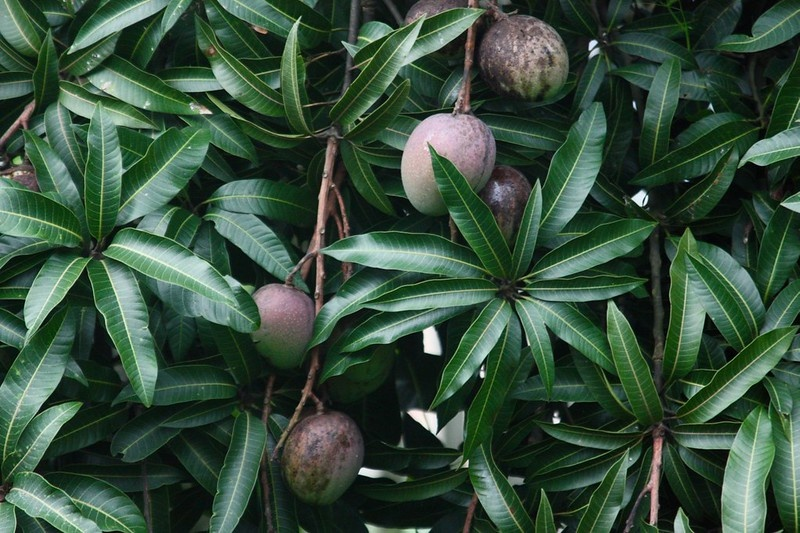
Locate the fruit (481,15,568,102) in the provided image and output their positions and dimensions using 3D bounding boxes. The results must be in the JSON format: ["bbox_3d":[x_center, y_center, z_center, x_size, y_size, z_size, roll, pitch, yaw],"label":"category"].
[{"bbox_3d":[0.235,-0.393,2.275,0.166,0.134,0.133,30,73,13],"label":"fruit"}]

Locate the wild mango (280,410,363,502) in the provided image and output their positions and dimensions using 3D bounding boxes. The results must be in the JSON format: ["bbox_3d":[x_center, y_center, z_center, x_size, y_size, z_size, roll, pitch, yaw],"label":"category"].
[{"bbox_3d":[-0.149,0.365,2.242,0.154,0.151,0.198,-8,73,32],"label":"wild mango"}]

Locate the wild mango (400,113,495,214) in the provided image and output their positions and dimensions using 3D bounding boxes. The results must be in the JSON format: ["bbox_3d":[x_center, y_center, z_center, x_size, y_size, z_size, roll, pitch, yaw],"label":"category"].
[{"bbox_3d":[0.092,-0.181,2.233,0.182,0.207,0.249,3,100,-5],"label":"wild mango"}]

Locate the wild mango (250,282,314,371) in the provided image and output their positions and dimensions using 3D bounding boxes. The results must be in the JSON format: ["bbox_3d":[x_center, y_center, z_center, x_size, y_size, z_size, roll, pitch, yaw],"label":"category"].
[{"bbox_3d":[-0.224,0.113,2.237,0.135,0.133,0.168,1,101,-24],"label":"wild mango"}]
